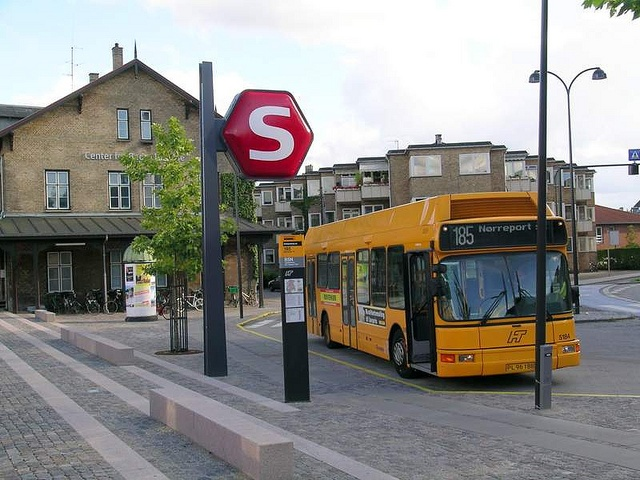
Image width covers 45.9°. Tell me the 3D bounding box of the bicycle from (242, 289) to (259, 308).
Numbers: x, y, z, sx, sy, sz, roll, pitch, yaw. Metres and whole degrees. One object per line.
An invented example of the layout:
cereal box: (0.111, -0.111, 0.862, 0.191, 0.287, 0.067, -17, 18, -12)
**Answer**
bicycle: (-3.691, 3.048, 39.475, 0.775, 0.714, 0.977, -2, -1, -7)

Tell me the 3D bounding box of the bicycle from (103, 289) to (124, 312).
bicycle: (-10.193, 3.008, 37.509, 0.813, 0.900, 2.403, -2, -2, -16)

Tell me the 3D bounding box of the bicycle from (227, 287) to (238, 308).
bicycle: (-4.533, 2.934, 39.048, 0.482, 0.912, 2.703, -2, -2, -8)

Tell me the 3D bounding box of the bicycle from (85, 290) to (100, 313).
bicycle: (-11.093, 2.985, 36.571, 0.676, 0.833, 1.385, -2, -2, -18)
